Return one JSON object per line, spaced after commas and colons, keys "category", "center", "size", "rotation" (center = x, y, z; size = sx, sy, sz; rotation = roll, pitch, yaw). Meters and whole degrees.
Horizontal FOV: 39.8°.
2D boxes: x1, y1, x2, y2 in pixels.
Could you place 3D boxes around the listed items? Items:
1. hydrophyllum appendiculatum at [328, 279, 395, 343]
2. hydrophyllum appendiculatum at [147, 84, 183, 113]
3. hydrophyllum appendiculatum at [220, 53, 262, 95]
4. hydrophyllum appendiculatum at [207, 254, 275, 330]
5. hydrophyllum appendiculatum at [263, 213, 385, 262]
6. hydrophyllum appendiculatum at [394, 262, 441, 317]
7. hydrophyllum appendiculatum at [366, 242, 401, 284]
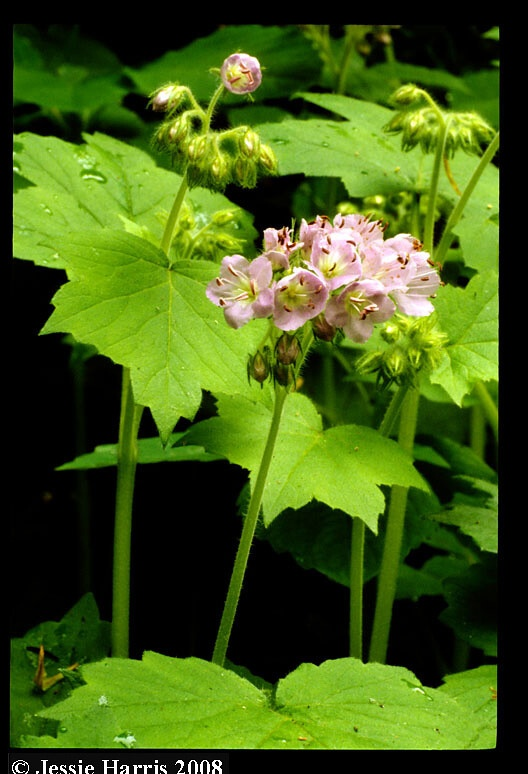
{"category": "hydrophyllum appendiculatum", "center": [0.176, -0.140, 1.350], "size": [0.124, 0.117, 0.059], "rotation": [6, 9, 7]}
{"category": "hydrophyllum appendiculatum", "center": [-0.194, -0.573, 1.451], "size": [0.060, 0.060, 0.099], "rotation": [4, 8, -10]}
{"category": "hydrophyllum appendiculatum", "center": [-0.051, -0.616, 1.452], "size": [0.076, 0.078, 0.117], "rotation": [4, 8, -6]}
{"category": "hydrophyllum appendiculatum", "center": [-0.020, -0.175, 1.365], "size": [0.129, 0.131, 0.068], "rotation": [32, 24, 21]}
{"category": "hydrophyllum appendiculatum", "center": [0.112, -0.292, 1.395], "size": [0.192, 0.071, 0.119], "rotation": [-25, 31, -21]}
{"category": "hydrophyllum appendiculatum", "center": [0.312, -0.211, 1.437], "size": [0.033, 0.067, 0.063], "rotation": [-34, 19, -18]}
{"category": "hydrophyllum appendiculatum", "center": [0.224, -0.232, 1.380], "size": [0.074, 0.070, 0.034], "rotation": [-38, 21, -17]}
